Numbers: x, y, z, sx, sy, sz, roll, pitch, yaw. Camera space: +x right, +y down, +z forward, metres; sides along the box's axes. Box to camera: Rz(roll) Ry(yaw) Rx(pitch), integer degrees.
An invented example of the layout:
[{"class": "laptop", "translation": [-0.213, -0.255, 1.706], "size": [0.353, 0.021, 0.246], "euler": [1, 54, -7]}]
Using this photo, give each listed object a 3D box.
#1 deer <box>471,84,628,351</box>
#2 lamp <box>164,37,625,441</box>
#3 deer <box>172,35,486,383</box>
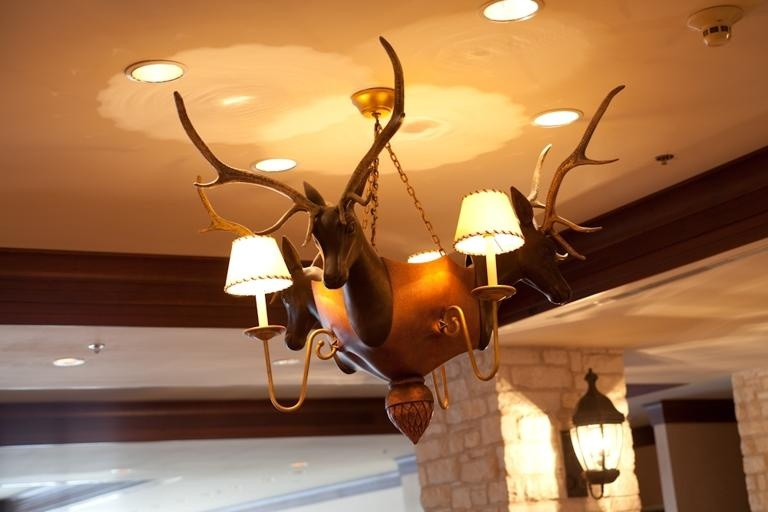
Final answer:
[{"class": "deer", "translation": [0.584, -0.119, 2.164], "size": [0.282, 0.555, 0.467], "euler": [-29, -7, 17]}, {"class": "lamp", "translation": [0.038, 0.079, 2.158], "size": [1.495, 0.976, 1.156], "euler": [-11, -19, 21]}, {"class": "deer", "translation": [-0.094, -0.029, 1.956], "size": [0.673, 0.777, 0.821], "euler": [-12, -23, 14]}]
